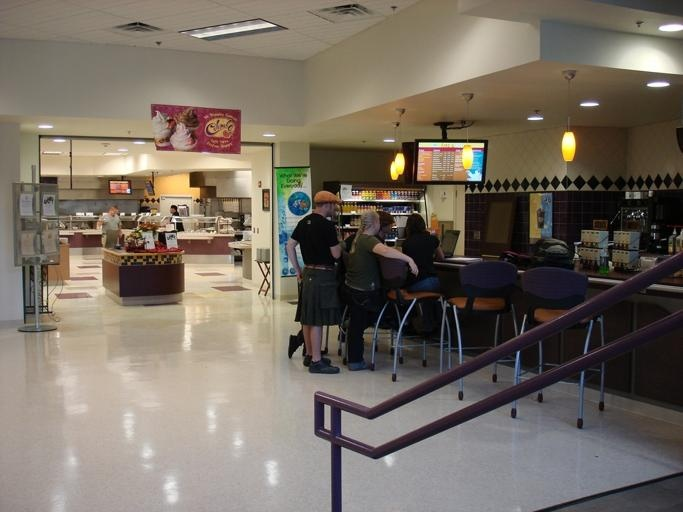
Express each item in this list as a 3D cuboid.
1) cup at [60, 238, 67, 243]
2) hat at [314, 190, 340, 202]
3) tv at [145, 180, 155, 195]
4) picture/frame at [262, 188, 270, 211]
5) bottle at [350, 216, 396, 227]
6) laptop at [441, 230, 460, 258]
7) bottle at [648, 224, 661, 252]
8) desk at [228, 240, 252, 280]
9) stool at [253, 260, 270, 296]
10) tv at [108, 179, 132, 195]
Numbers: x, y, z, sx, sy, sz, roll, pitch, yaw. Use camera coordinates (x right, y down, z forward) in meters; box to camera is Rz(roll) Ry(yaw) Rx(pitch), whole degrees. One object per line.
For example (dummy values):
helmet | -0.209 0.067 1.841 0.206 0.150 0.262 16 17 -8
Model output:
cup | -6.769 -0.368 12.853 0.135 0.084 0.132 1 7 0
hat | -0.172 -0.690 6.347 0.218 0.079 0.201 -1 2 -25
tv | -9.486 -3.367 26.200 0.240 0.736 0.650 -30 28 -30
picture/frame | -1.702 -1.248 12.000 0.082 0.494 0.446 -3 7 -27
bottle | 0.431 -0.489 7.522 0.435 0.101 0.184 -4 8 -16
laptop | 1.603 -0.184 7.641 0.309 0.341 0.407 -5 13 -23
bottle | 3.988 -0.221 6.718 0.423 0.355 0.075 -6 9 -43
desk | -2.704 0.103 14.363 0.502 0.986 2.396 -1 7 -12
stool | -1.828 0.442 12.426 0.304 0.787 1.258 -1 7 -9
tv | -10.937 -3.370 26.065 0.786 0.557 0.109 0 3 -3
